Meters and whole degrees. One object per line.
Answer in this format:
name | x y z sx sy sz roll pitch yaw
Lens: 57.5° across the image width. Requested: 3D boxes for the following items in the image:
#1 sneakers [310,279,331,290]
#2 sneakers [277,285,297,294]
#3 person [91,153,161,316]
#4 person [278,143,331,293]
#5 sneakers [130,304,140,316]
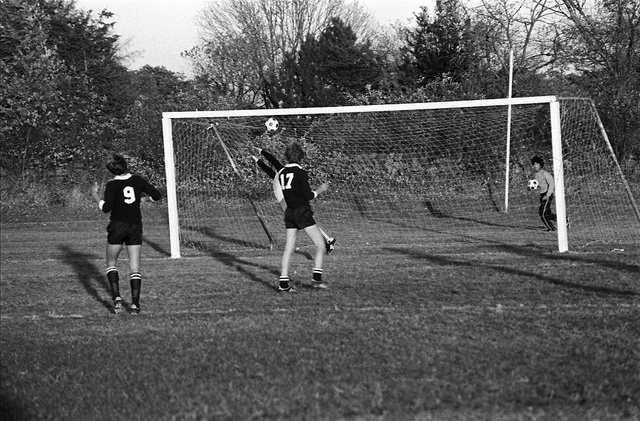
sneakers | -0.030 1.337 10.507 0.381 0.152 0.132 4 21 -9
sneakers | -0.607 1.407 10.406 0.351 0.212 0.122 -1 4 -3
person | -3.143 0.392 9.463 0.909 2.552 0.918 -6 15 -20
person | -0.325 0.139 10.559 0.932 2.657 1.119 -2 14 -4
sneakers | -3.014 1.591 9.407 0.205 0.182 0.120 -1 2 6
